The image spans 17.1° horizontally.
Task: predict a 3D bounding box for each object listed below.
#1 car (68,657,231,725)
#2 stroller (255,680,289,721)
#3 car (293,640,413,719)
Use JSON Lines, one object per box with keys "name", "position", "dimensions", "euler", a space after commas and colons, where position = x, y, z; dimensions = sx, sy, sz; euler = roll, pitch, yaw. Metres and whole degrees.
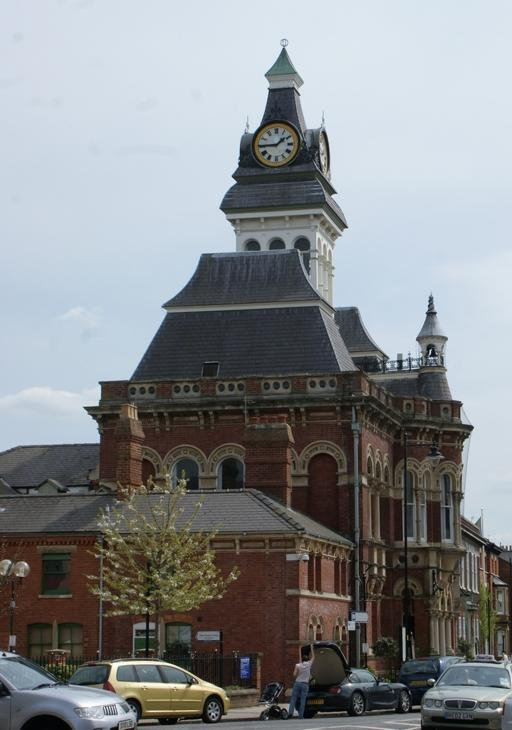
{"name": "car", "position": [-1.876, 6.634, 34.418], "dimensions": [2.808, 1.115, 1.495], "euler": [8, -11, -42]}
{"name": "stroller", "position": [0.391, 7.233, 36.648], "dimensions": [0.565, 0.872, 1.565], "euler": [0, -15, 1]}
{"name": "car", "position": [2.374, 7.427, 40.122], "dimensions": [1.482, 1.546, 3.408], "euler": [-8, -11, 37]}
